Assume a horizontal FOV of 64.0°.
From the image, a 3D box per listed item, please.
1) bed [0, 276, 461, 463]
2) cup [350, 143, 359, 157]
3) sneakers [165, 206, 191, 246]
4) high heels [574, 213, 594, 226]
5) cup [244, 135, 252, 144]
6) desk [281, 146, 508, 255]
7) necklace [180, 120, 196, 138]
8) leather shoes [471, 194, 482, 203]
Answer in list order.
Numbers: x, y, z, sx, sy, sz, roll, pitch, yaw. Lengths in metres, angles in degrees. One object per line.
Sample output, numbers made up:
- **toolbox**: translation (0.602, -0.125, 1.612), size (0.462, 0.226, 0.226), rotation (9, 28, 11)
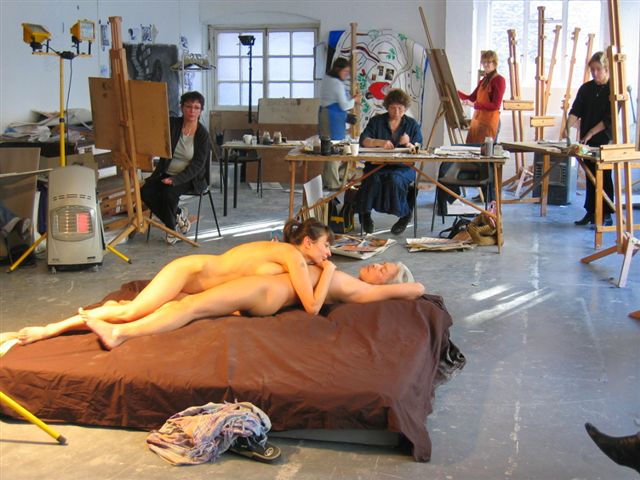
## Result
- **bed**: translation (-0.387, 0.636, 2.690), size (2.046, 0.421, 0.914), rotation (1, 10, 8)
- **cup**: translation (0.354, -0.928, 5.257), size (0.124, 0.135, 0.129), rotation (-1, 0, 0)
- **sneakers**: translation (-1.529, -0.128, 5.588), size (0.148, 0.474, 0.215), rotation (-5, -25, 16)
- **high heels**: translation (3.150, -0.245, 6.194), size (0.286, 0.142, 0.103), rotation (1, 9, 28)
- **cup**: translation (-0.903, -1.263, 6.374), size (0.075, 0.118, 0.118), rotation (0, 4, 1)
- **desk**: translation (0.939, -0.621, 6.346), size (2.568, 1.037, 2.707), rotation (0, 10, -1)
- **necklace**: translation (-1.412, -1.208, 5.529), size (0.160, 0.156, 0.116), rotation (0, 14, -2)
- **leather shoes**: translation (2.313, -0.624, 7.530), size (0.113, 0.138, 0.343), rotation (1, 11, 6)
